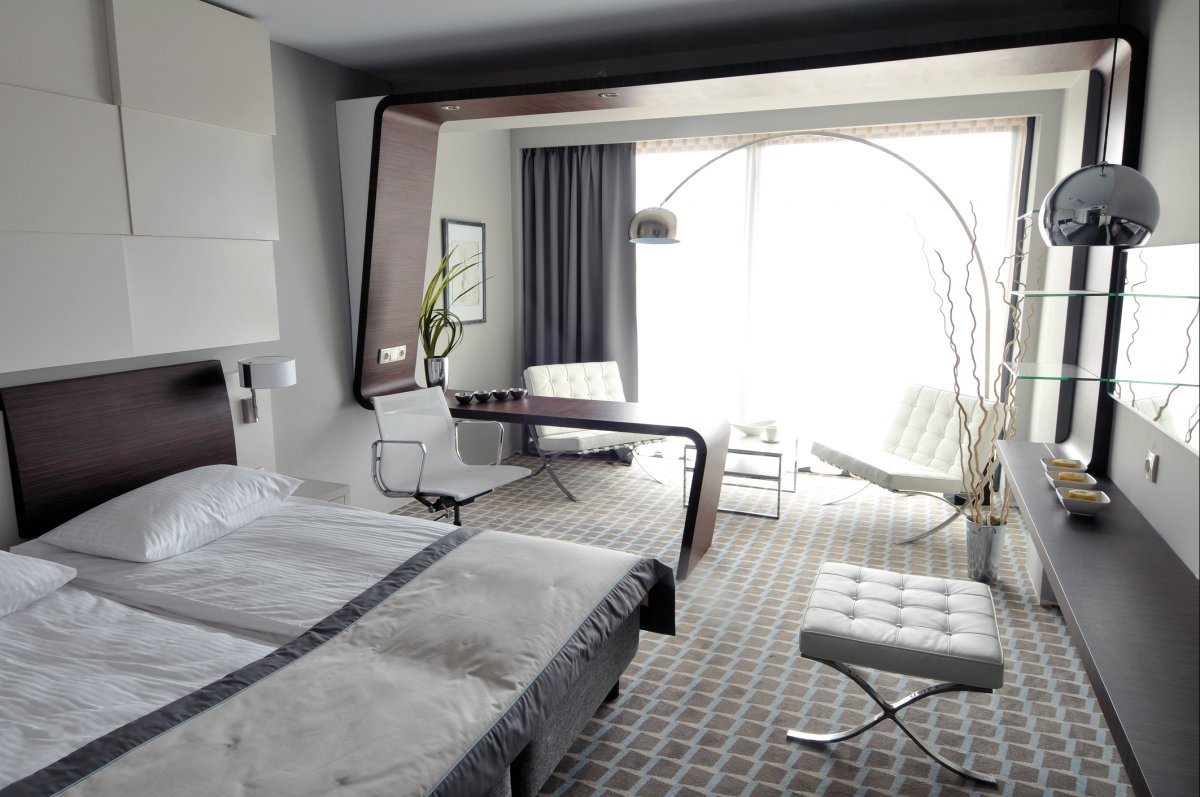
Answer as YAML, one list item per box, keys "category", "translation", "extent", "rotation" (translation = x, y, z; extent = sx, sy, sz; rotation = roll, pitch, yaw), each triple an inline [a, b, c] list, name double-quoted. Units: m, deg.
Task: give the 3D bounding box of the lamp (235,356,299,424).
- category: "lamp"
  translation: [-1.791, -0.061, 4.137]
  extent: [0.395, 0.422, 0.370]
  rotation: [1, 9, 3]

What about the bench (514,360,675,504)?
- category: "bench"
  translation: [-0.073, 0.214, 6.036]
  extent: [1.131, 0.929, 0.914]
  rotation: [-5, 11, -44]

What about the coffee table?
- category: "coffee table"
  translation: [1.182, 0.579, 5.506]
  extent: [0.701, 0.428, 0.739]
  rotation: [3, 5, 23]

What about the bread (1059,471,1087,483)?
- category: "bread"
  translation: [2.191, 0.364, 3.337]
  extent: [0.065, 0.021, 0.082]
  rotation: [1, 7, 22]

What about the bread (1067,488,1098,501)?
- category: "bread"
  translation: [2.099, 0.410, 3.133]
  extent: [0.075, 0.020, 0.070]
  rotation: [-1, 3, -20]

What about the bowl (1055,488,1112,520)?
- category: "bowl"
  translation: [2.109, 0.453, 3.149]
  extent: [0.188, 0.098, 0.210]
  rotation: [10, 14, 34]

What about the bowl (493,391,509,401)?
- category: "bowl"
  translation: [-0.708, -0.014, 5.154]
  extent: [0.079, 0.043, 0.075]
  rotation: [-3, 10, 0]

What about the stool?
- category: "stool"
  translation: [1.182, 1.014, 2.989]
  extent: [0.838, 0.571, 0.813]
  rotation: [1, 6, 24]

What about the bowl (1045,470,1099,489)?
- category: "bowl"
  translation: [2.189, 0.375, 3.346]
  extent: [0.134, 0.036, 0.130]
  rotation: [-1, 7, 0]
